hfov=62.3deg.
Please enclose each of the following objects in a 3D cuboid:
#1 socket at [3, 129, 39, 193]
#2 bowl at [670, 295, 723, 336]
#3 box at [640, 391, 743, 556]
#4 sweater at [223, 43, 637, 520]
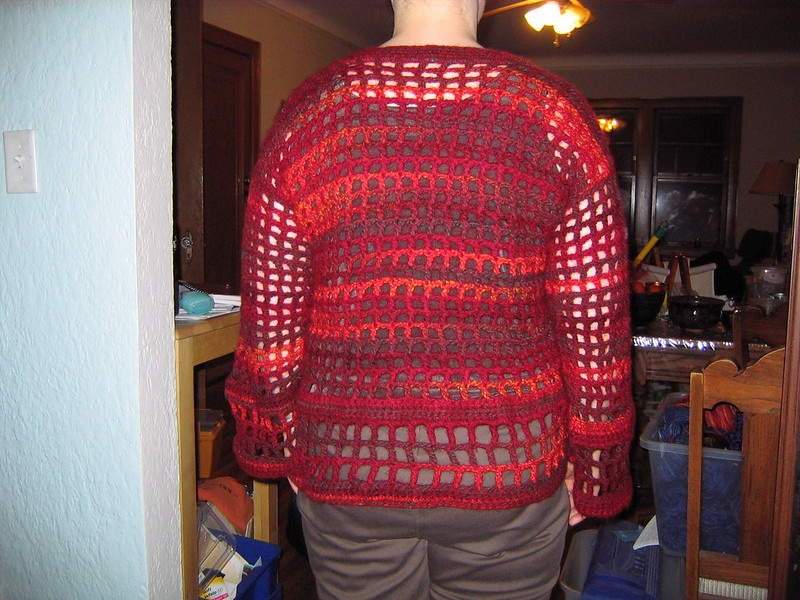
[{"bbox_3d":[-0.805,-0.288,1.400,0.091,0.131,0.017,3,5,27],"label":"socket"},{"bbox_3d":[1.073,0.052,2.417,0.174,0.123,0.198,2,4,22],"label":"bowl"},{"bbox_3d":[0.799,0.471,1.941,0.395,0.325,0.318,1,4,22],"label":"box"},{"bbox_3d":[0.029,-0.012,1.211,0.769,0.826,0.291,2,4,17],"label":"sweater"}]
